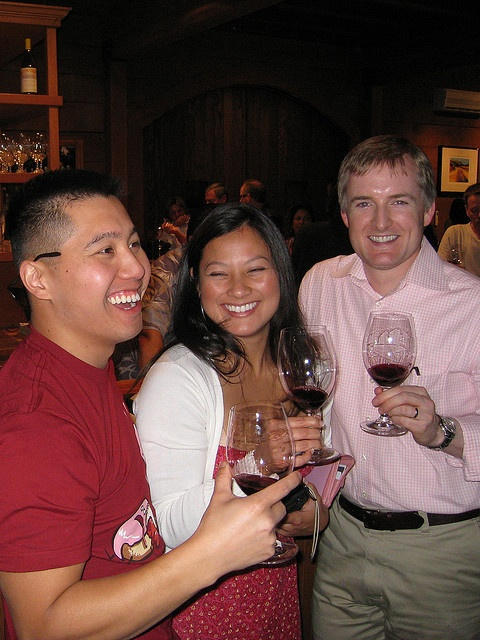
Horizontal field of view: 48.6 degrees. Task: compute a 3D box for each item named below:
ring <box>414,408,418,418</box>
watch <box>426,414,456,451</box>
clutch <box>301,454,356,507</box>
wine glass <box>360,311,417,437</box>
[{"bbox_3d":[0.427,0.224,1.288,0.006,0.017,0.018,3,-14,9],"label":"ring"},{"bbox_3d":[0.535,0.300,1.404,0.075,0.096,0.045,0,7,2],"label":"watch"},{"bbox_3d":[0.238,0.422,1.434,0.144,0.137,0.044,-32,-51,30],"label":"clutch"},{"bbox_3d":[0.409,0.163,1.468,0.143,0.366,0.222,1,7,12],"label":"wine glass"}]
